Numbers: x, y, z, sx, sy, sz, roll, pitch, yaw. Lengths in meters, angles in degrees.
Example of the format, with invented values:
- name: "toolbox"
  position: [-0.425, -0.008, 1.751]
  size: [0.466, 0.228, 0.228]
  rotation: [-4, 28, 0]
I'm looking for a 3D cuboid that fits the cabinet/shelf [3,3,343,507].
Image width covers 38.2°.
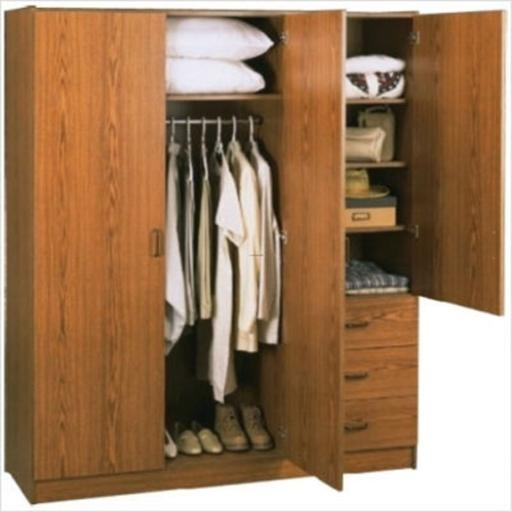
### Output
- name: "cabinet/shelf"
  position: [-0.379, 0.025, 2.984]
  size: [1.461, 2.026, 0.599]
  rotation: [-1, 8, 6]

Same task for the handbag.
- name: "handbag"
  position: [0.491, -0.555, 3.444]
  size: [0.197, 0.314, 0.265]
  rotation: [1, 2, 42]

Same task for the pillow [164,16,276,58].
- name: "pillow"
  position: [-0.158, -0.906, 3.050]
  size: [0.330, 0.110, 0.222]
  rotation: [1, 52, -7]

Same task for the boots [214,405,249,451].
- name: "boots"
  position: [-0.116, 0.797, 3.413]
  size: [0.100, 0.148, 0.314]
  rotation: [2, 3, -21]

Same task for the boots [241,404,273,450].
- name: "boots"
  position: [-0.006, 0.778, 3.417]
  size: [0.097, 0.143, 0.310]
  rotation: [-5, 9, -18]

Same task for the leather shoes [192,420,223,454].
- name: "leather shoes"
  position: [-0.213, 0.823, 3.360]
  size: [0.060, 0.062, 0.187]
  rotation: [-5, 17, -26]

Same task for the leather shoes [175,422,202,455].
- name: "leather shoes"
  position: [-0.314, 0.816, 3.328]
  size: [0.061, 0.060, 0.176]
  rotation: [-5, 17, -20]
